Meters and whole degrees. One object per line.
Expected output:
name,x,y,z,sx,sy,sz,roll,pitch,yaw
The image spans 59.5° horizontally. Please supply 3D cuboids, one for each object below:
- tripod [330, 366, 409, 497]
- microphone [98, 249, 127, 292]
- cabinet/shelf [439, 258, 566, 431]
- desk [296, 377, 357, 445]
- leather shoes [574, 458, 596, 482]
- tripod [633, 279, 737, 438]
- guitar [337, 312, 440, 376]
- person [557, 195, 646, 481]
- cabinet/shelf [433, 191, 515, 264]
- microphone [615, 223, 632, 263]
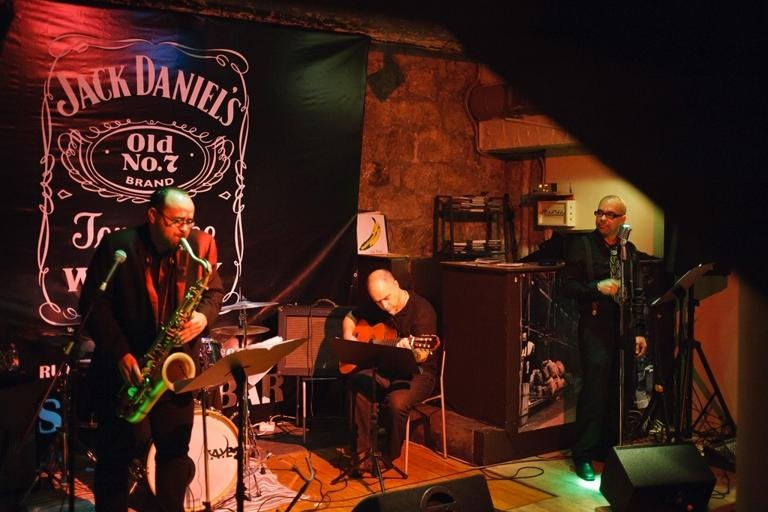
tripod,-0.073,1.181,5.046,0.559,0.870,0.831,1,7,3
microphone,-1.386,0.079,3.424,0.137,0.226,0.107,0,7,-4
cabinet/shelf,1.045,0.726,5.757,1.015,1.304,1.020,0,-3,-2
desk,-0.552,1.499,6.379,0.489,0.693,0.506,0,-9,-2
leather shoes,1.504,1.579,5.030,0.157,0.136,0.212,3,7,18
tripod,2.519,0.841,5.494,0.669,1.437,1.158,4,8,27
guitar,0.050,0.625,5.124,0.736,0.367,0.112,6,-4,36
person,1.638,0.603,5.095,0.571,2.114,0.783,4,8,27
cabinet/shelf,0.940,-0.166,7.622,0.851,0.977,0.375,-3,-10,-22
microphone,1.673,-0.086,4.717,0.081,0.295,0.116,4,13,6
